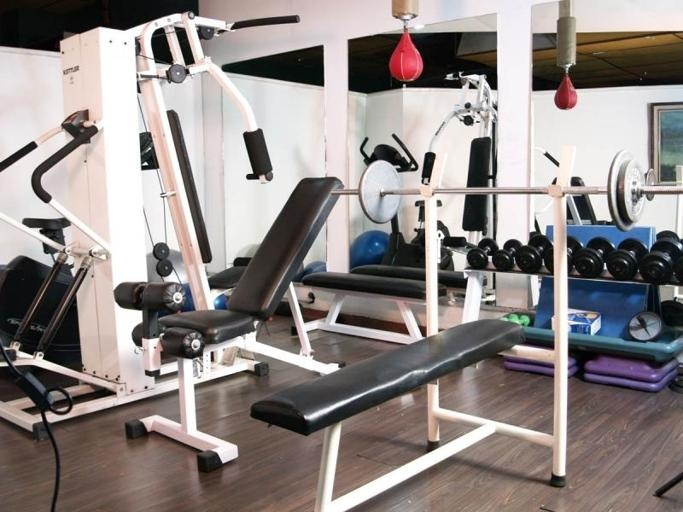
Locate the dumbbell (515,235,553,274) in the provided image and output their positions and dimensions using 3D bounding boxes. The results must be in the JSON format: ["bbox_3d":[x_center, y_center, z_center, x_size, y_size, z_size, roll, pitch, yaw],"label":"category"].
[{"bbox_3d":[1.114,-0.025,3.472,0.262,0.151,0.171,-9,-1,-32],"label":"dumbbell"}]

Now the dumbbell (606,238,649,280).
[{"bbox_3d":[1.495,0.023,3.272,0.202,0.190,0.460,-2,10,39],"label":"dumbbell"}]

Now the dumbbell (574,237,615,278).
[{"bbox_3d":[1.416,0.014,3.362,0.171,0.180,0.314,27,34,30],"label":"dumbbell"}]

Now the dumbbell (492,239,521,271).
[{"bbox_3d":[0.978,0.008,3.539,0.077,0.084,0.167,25,29,23],"label":"dumbbell"}]

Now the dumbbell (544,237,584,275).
[{"bbox_3d":[1.109,0.010,2.968,0.273,0.114,0.117,-20,-6,-38],"label":"dumbbell"}]
